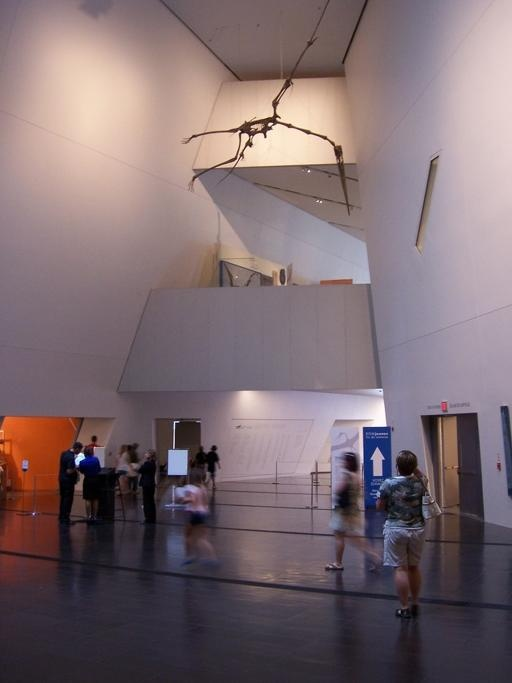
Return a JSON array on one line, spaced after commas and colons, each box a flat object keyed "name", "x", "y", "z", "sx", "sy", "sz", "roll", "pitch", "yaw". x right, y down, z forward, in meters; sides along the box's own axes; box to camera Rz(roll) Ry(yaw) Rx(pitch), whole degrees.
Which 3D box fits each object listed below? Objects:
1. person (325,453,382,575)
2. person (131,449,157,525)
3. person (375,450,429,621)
[{"name": "person", "x": 1.173, "y": 2.034, "z": 6.255, "sx": 0.599, "sy": 1.433, "sz": 1.963, "roll": -1, "pitch": -9, "yaw": 13}, {"name": "person", "x": -2.220, "y": 2.923, "z": 10.397, "sx": 0.332, "sy": 1.421, "sz": 0.447, "roll": -4, "pitch": -15, "yaw": 2}, {"name": "person", "x": 1.151, "y": 1.470, "z": 3.992, "sx": 0.444, "sy": 1.209, "sz": 0.244, "roll": 1, "pitch": -8, "yaw": -4}]
